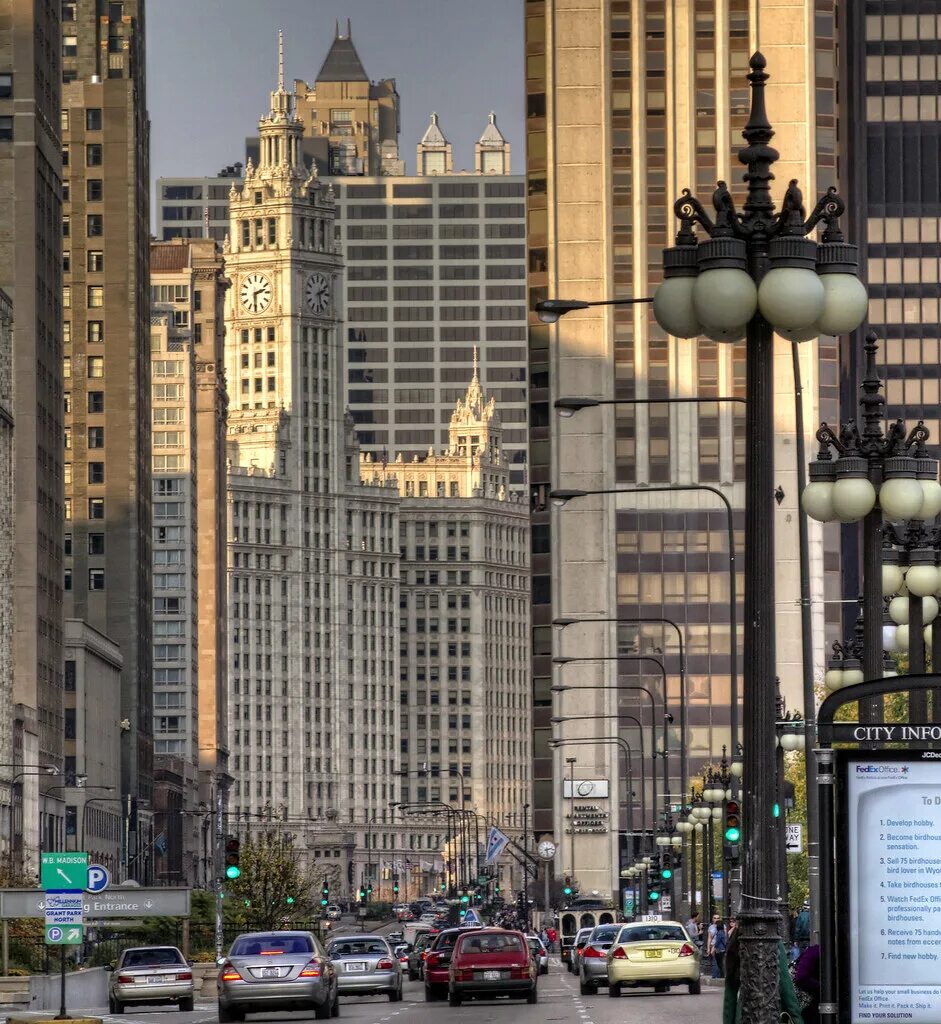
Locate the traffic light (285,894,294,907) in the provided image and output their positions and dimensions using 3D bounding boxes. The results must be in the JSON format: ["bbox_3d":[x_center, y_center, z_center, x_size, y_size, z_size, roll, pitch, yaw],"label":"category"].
[{"bbox_3d":[-8.068,17.886,180.519,0.455,0.524,0.449,4,-4,-44],"label":"traffic light"}]
